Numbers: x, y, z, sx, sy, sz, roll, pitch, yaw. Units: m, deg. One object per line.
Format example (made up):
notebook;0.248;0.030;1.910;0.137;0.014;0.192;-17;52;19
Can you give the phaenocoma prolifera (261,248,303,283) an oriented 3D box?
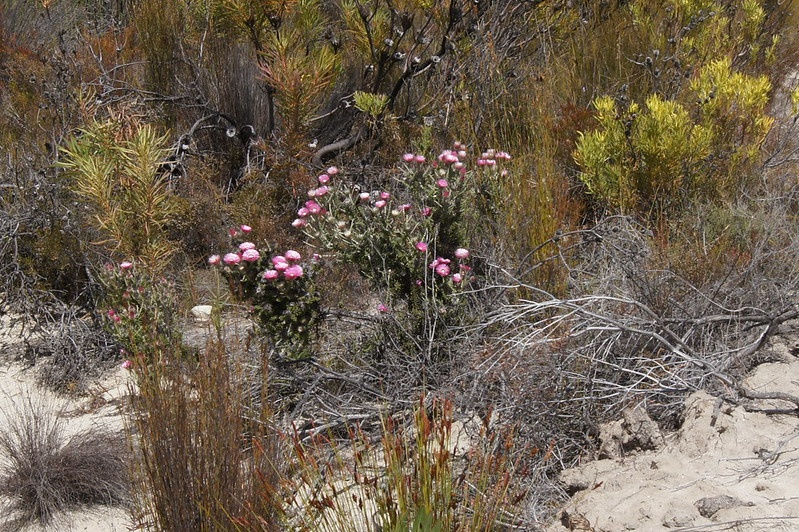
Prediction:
phaenocoma prolifera;-0.768;0.026;6.092;0.272;0.184;0.190;-3;28;-8
